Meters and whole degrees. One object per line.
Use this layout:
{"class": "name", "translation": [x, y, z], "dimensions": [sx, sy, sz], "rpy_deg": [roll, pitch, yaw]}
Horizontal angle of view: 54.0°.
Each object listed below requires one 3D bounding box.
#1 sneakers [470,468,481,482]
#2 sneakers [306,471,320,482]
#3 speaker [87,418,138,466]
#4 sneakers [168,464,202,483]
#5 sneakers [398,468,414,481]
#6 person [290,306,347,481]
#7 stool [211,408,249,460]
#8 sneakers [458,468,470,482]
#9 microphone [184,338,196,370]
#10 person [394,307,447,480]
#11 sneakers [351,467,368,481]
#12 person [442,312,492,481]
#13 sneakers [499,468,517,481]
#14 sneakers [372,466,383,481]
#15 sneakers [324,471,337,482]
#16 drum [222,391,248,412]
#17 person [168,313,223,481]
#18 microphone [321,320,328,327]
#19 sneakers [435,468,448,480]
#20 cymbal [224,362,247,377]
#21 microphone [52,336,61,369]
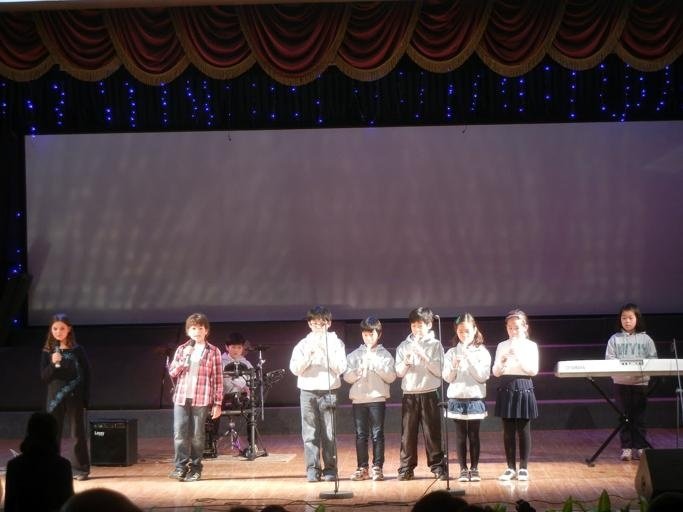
{"class": "sneakers", "translation": [1.313, 2.152, 6.591], "dimensions": [0.075, 0.092, 0.230], "rpy_deg": [0, -17, 4]}
{"class": "sneakers", "translation": [-0.289, 2.191, 6.691], "dimensions": [0.089, 0.108, 0.120], "rpy_deg": [1, -1, -1]}
{"class": "speaker", "translation": [-2.613, 2.040, 7.720], "dimensions": [0.602, 0.644, 0.463], "rpy_deg": [-1, -6, 0]}
{"class": "sneakers", "translation": [-1.619, 2.240, 6.896], "dimensions": [0.327, 0.151, 0.133], "rpy_deg": [12, -16, -19]}
{"class": "sneakers", "translation": [0.640, 2.177, 6.681], "dimensions": [0.149, 0.151, 0.081], "rpy_deg": [8, -9, -6]}
{"class": "person", "translation": [-0.227, 1.385, 6.760], "dimensions": [0.549, 1.711, 0.648], "rpy_deg": [-5, -12, 10]}
{"class": "stool", "translation": [-1.420, 2.185, 8.211], "dimensions": [0.544, 0.697, 0.556], "rpy_deg": [3, -7, -9]}
{"class": "sneakers", "translation": [1.195, 2.137, 6.539], "dimensions": [0.114, 0.117, 0.095], "rpy_deg": [-4, -12, 7]}
{"class": "microphone", "translation": [-1.587, 1.010, 6.977], "dimensions": [0.085, 0.341, 0.087], "rpy_deg": [5, 6, -18]}
{"class": "person", "translation": [0.763, 1.365, 6.719], "dimensions": [0.485, 1.686, 0.328], "rpy_deg": [-3, -12, 3]}
{"class": "sneakers", "translation": [0.195, 2.186, 6.737], "dimensions": [0.217, 0.100, 0.080], "rpy_deg": [8, -10, -24]}
{"class": "person", "translation": [1.271, 1.395, 6.689], "dimensions": [0.470, 1.630, 0.338], "rpy_deg": [-4, -12, 8]}
{"class": "sneakers", "translation": [1.644, 2.159, 6.607], "dimensions": [0.077, 0.098, 0.242], "rpy_deg": [-10, -19, 29]}
{"class": "sneakers", "translation": [0.365, 2.188, 6.776], "dimensions": [0.116, 0.136, 0.177], "rpy_deg": [-3, -13, 2]}
{"class": "sneakers", "translation": [-0.150, 2.192, 6.687], "dimensions": [0.083, 0.105, 0.250], "rpy_deg": [4, -15, -28]}
{"class": "drum", "translation": [-1.258, 1.719, 7.959], "dimensions": [0.210, 0.092, 0.254], "rpy_deg": [-6, -5, -2]}
{"class": "person", "translation": [-1.532, 1.459, 7.025], "dimensions": [0.527, 1.699, 0.399], "rpy_deg": [1, -12, -15]}
{"class": "microphone", "translation": [-0.158, 0.682, 6.750], "dimensions": [0.038, 0.074, 0.106], "rpy_deg": [-11, -15, 35]}
{"class": "sneakers", "translation": [0.973, 2.125, 6.518], "dimensions": [0.150, 0.146, 0.193], "rpy_deg": [3, -16, -5]}
{"class": "cymbal", "translation": [-1.238, 1.315, 7.826], "dimensions": [0.271, 0.169, 0.194], "rpy_deg": [0, -13, -11]}
{"class": "microphone", "translation": [-2.949, 1.007, 6.941], "dimensions": [0.079, 0.280, 0.107], "rpy_deg": [3, -13, -24]}
